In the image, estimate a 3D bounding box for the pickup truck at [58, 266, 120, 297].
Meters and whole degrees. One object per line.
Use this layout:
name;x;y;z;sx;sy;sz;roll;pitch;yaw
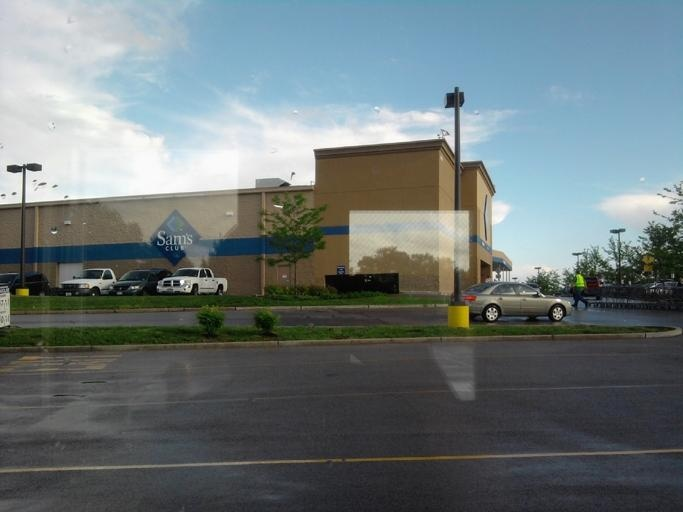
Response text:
pickup truck;-13.355;1.487;38.911;2.266;1.775;2.536;1;1;-1

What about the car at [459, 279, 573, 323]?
car;6.101;1.616;26.175;3.629;1.428;1.487;-1;-3;2

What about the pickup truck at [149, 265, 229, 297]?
pickup truck;-8.265;1.277;40.159;2.853;1.620;6.069;-2;-3;15

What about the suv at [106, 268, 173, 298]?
suv;-10.709;1.350;38.969;1.187;0.915;2.507;-2;-3;17
